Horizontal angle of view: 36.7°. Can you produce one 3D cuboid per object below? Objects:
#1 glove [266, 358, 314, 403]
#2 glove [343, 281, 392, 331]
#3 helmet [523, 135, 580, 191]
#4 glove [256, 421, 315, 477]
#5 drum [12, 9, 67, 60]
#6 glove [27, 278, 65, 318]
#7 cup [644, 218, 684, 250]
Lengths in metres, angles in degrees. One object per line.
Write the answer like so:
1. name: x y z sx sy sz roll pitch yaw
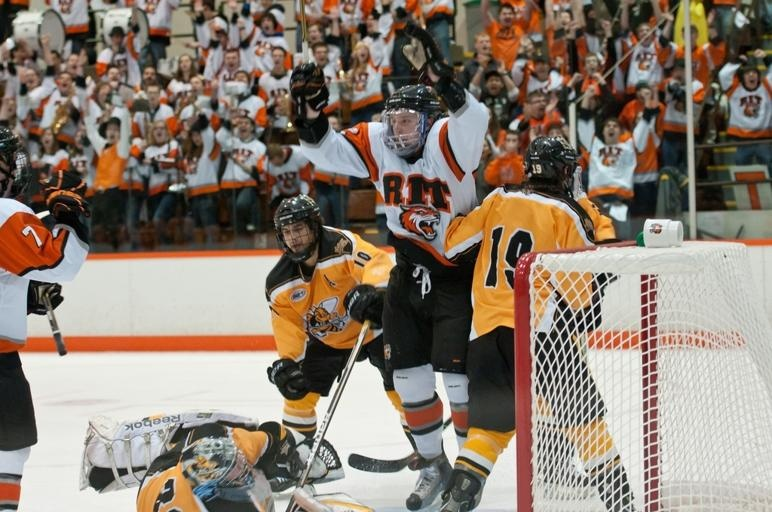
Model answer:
1. glove: -0.630 0.796 7.757 0.293 0.211 0.124 44 22 6
2. glove: -0.129 0.319 7.639 0.198 0.307 0.129 -14 18 -6
3. helmet: 1.063 -0.547 7.370 0.257 0.395 0.348 1 -14 15
4. glove: -0.671 1.278 7.607 0.243 0.447 0.262 -4 33 -8
5. drum: -3.568 -2.162 11.677 0.240 0.424 0.387 -5 -16 -6
6. glove: -2.232 0.244 7.616 0.149 0.275 0.113 3 39 -28
7. cup: 1.622 -0.130 6.757 0.178 0.168 0.145 1 9 21
